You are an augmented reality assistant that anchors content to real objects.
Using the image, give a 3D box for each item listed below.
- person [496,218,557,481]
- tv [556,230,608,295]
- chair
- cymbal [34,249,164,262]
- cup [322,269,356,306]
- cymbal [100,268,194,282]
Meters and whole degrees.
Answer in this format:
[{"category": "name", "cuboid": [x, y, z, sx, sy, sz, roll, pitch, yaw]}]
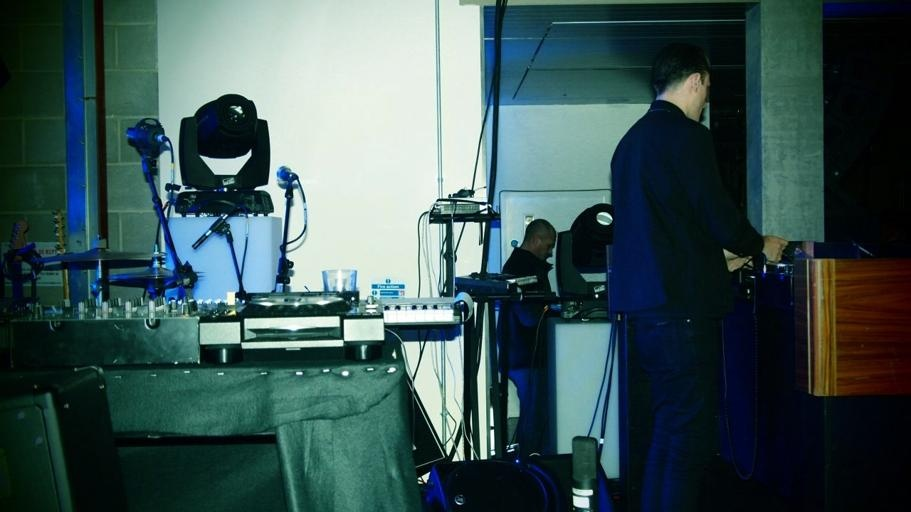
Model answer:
[{"category": "person", "cuboid": [0.548, 0.575, 7.470, 0.411, 1.715, 1.248, -2, 0, 6]}, {"category": "tv", "cuboid": [0.882, 0.073, 7.455, 0.499, 0.593, 0.392, 1, -1, -2]}, {"category": "chair", "cuboid": [-1.631, -0.415, 7.220, 0.780, 1.334, 0.397, -2, 0, -10]}, {"category": "cymbal", "cuboid": [-2.332, -0.011, 6.635, 0.670, 0.078, 0.248, -2, 0, -19]}, {"category": "cup", "cuboid": [-0.751, 0.193, 6.717, 0.218, 0.239, 0.210, -1, -1, 0]}, {"category": "cymbal", "cuboid": [-1.995, 0.115, 6.700, 0.548, 0.074, 0.214, -2, 0, -20]}]
